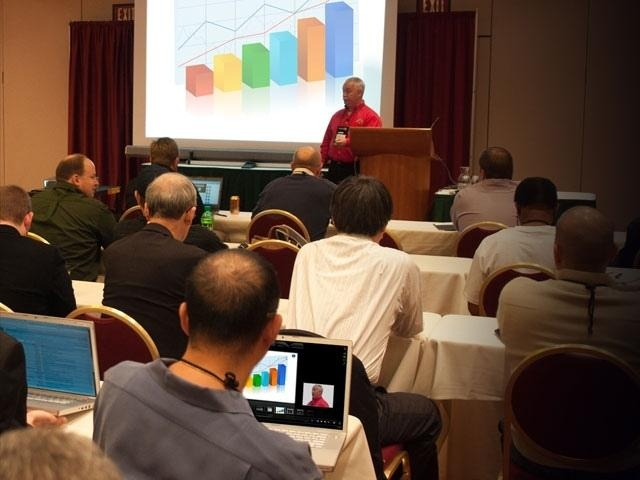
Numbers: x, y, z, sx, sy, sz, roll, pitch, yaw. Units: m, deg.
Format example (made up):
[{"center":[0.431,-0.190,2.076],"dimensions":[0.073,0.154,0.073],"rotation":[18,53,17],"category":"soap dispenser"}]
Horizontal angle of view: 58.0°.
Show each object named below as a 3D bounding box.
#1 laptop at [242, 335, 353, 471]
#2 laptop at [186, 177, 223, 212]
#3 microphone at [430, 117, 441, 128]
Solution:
[{"center":[-0.101,0.392,1.575],"dimensions":[0.343,0.311,0.335],"rotation":[2,-11,15],"category":"laptop"},{"center":[-1.018,-0.333,5.023],"dimensions":[0.269,0.350,0.247],"rotation":[-1,-5,-3],"category":"laptop"},{"center":[1.399,-1.388,6.973],"dimensions":[0.080,0.136,0.455],"rotation":[2,12,13],"category":"microphone"}]
